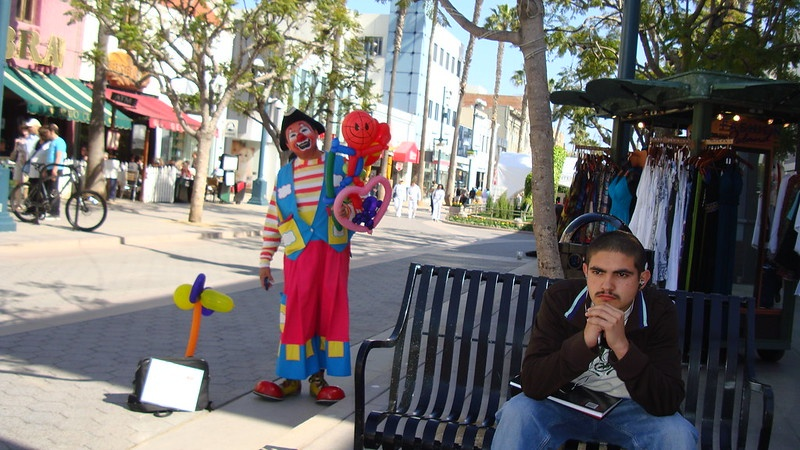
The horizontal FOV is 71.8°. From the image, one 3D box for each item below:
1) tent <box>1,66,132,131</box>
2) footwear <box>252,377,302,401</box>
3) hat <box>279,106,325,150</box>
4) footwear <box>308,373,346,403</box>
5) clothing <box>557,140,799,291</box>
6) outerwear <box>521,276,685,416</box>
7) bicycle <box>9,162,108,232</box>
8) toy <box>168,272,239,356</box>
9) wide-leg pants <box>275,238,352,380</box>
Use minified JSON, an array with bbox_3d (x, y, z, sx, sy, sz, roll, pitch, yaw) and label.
[{"bbox_3d":[-13.292,-5.101,21.158,1.904,1.263,3.723,41,20,29],"label":"tent"},{"bbox_3d":[-1.347,1.801,6.129,0.208,0.190,0.445,-5,-12,42],"label":"footwear"},{"bbox_3d":[-1.183,-1.070,6.339,0.405,0.196,0.514,-25,-30,-23],"label":"hat"},{"bbox_3d":[-0.803,1.768,6.039,0.242,0.289,0.414,0,-3,-41],"label":"footwear"},{"bbox_3d":[3.837,-0.162,7.556,0.600,2.352,2.550,15,-4,-41],"label":"clothing"},{"bbox_3d":[1.684,0.964,4.541,1.113,0.692,1.061,3,9,18],"label":"outerwear"},{"bbox_3d":[-9.272,-0.798,14.931,2.940,1.657,1.230,7,7,6],"label":"bicycle"},{"bbox_3d":[-2.063,0.968,5.882,0.564,0.709,0.326,4,1,11],"label":"toy"},{"bbox_3d":[-0.926,0.766,6.083,0.761,1.828,0.494,-1,6,-14],"label":"wide-leg pants"}]
